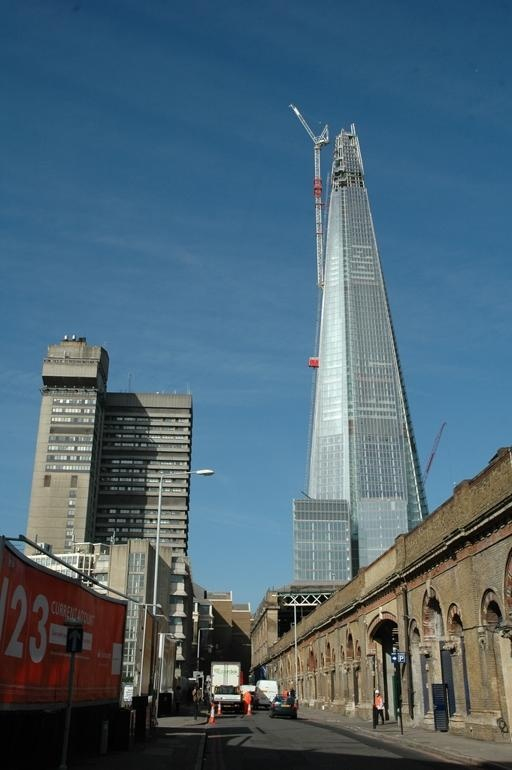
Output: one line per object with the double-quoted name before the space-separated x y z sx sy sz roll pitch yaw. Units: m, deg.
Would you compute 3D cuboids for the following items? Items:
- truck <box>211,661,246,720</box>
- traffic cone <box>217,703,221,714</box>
"truck" -2.478 23.999 51.749 2.717 3.049 5.209 0 -15 1
"traffic cone" -2.665 23.396 45.674 0.282 0.620 0.852 3 -24 -4
